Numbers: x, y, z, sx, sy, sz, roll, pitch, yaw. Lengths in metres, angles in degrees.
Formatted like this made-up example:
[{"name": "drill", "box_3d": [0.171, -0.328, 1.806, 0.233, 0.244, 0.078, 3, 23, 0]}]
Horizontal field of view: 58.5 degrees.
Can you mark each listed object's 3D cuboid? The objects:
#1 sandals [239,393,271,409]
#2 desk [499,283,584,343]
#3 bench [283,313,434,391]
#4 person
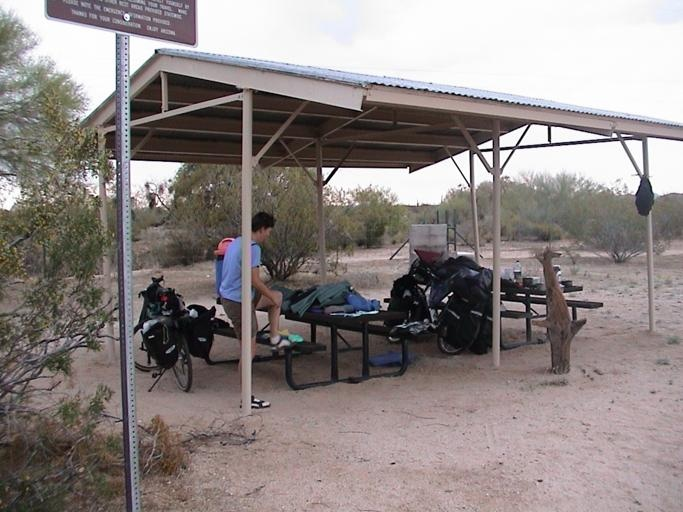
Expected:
[{"name": "sandals", "box_3d": [-0.973, 1.628, 6.941, 0.368, 0.208, 0.144, 3, -1, -12]}, {"name": "desk", "box_3d": [2.857, 0.715, 9.489, 1.143, 0.650, 1.174, -5, 5, -33]}, {"name": "bench", "box_3d": [0.013, 1.280, 8.545, 1.511, 0.783, 1.625, -4, -4, -25]}, {"name": "person", "box_3d": [-1.043, 0.589, 7.193, 0.804, 1.898, 0.937, -2, 1, -13]}]
